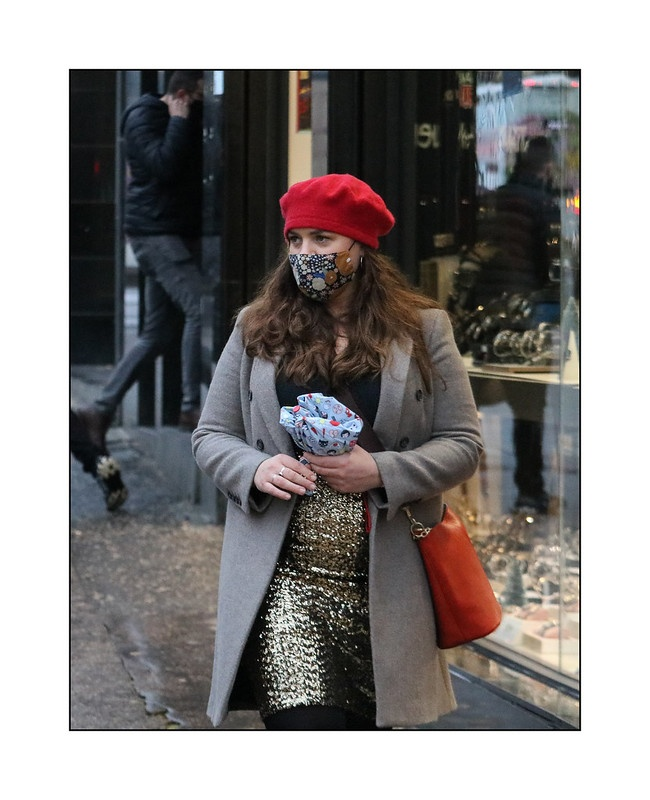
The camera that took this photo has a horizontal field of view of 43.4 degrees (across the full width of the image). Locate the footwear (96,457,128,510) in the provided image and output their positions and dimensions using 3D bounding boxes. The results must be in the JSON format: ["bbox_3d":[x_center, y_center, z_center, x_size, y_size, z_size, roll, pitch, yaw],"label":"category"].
[{"bbox_3d":[-1.045,0.403,4.051,0.098,0.311,0.130,-16,0,-7],"label":"footwear"}]

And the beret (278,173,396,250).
[{"bbox_3d":[0.039,-0.532,2.251,0.308,0.221,0.300,3,9,-17],"label":"beret"}]

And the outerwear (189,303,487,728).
[{"bbox_3d":[0.027,0.273,2.186,0.658,1.078,0.537,2,6,2],"label":"outerwear"}]

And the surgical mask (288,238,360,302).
[{"bbox_3d":[-0.002,-0.364,2.240,0.193,0.144,0.241,-2,23,18],"label":"surgical mask"}]

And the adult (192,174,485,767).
[{"bbox_3d":[0.020,0.349,2.232,0.691,1.881,0.647,0,1,-10],"label":"adult"}]

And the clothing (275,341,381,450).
[{"bbox_3d":[0.009,0.032,2.067,0.273,0.184,0.139,-1,6,-1],"label":"clothing"}]

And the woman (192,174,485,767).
[{"bbox_3d":[0.037,0.348,2.215,0.683,1.896,0.641,1,0,-11],"label":"woman"}]
